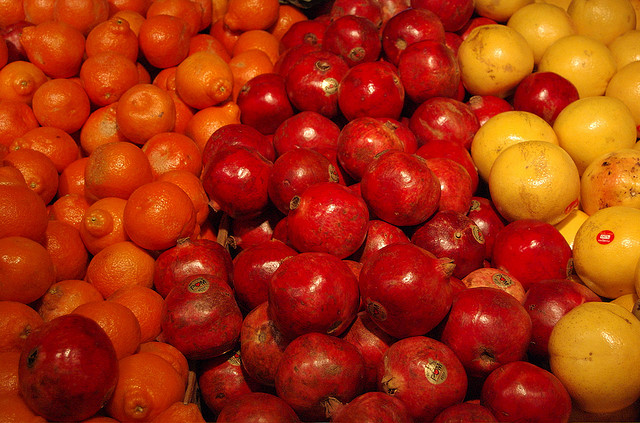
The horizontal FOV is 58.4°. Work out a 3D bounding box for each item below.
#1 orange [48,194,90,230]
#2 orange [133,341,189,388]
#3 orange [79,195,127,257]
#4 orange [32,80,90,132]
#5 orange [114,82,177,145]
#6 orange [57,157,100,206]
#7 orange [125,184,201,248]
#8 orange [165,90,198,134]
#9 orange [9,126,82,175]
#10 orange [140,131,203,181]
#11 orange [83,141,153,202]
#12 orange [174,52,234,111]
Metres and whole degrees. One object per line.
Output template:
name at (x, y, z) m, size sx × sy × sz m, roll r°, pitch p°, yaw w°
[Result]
orange at (-1.379, -0.008, 3.153) m, size 0.211 × 0.180 × 0.194 m, roll -6°, pitch 88°, yaw -26°
orange at (-0.736, 0.693, 2.680) m, size 0.204 × 0.206 × 0.208 m, roll 16°, pitch 56°, yaw -24°
orange at (-1.132, 0.086, 3.011) m, size 0.188 × 0.240 × 0.212 m, roll -18°, pitch 103°, yaw -5°
orange at (-1.565, -0.642, 3.429) m, size 0.317 × 0.163 × 0.296 m, roll -1°, pitch 83°, yaw 3°
orange at (-1.058, -0.585, 3.475) m, size 0.335 × 0.356 × 0.374 m, roll 5°, pitch 81°, yaw 10°
orange at (-1.352, -0.162, 3.213) m, size 0.181 × 0.217 × 0.188 m, roll -40°, pitch 64°, yaw 35°
orange at (-0.871, 0.033, 3.077) m, size 0.371 × 0.370 × 0.398 m, roll 7°, pitch 93°, yaw 22°
orange at (-0.850, -0.609, 3.488) m, size 0.184 × 0.226 × 0.193 m, roll -34°, pitch 83°, yaw 20°
orange at (-1.628, -0.376, 3.376) m, size 0.280 × 0.335 × 0.308 m, roll 3°, pitch 102°, yaw 44°
orange at (-0.864, -0.312, 3.362) m, size 0.272 × 0.287 × 0.302 m, roll 11°, pitch 96°, yaw -8°
orange at (-1.152, -0.217, 3.219) m, size 0.315 × 0.309 × 0.344 m, roll -1°, pitch 84°, yaw 44°
orange at (-0.732, -0.833, 3.605) m, size 0.324 × 0.338 × 0.428 m, roll -1°, pitch 87°, yaw -16°
